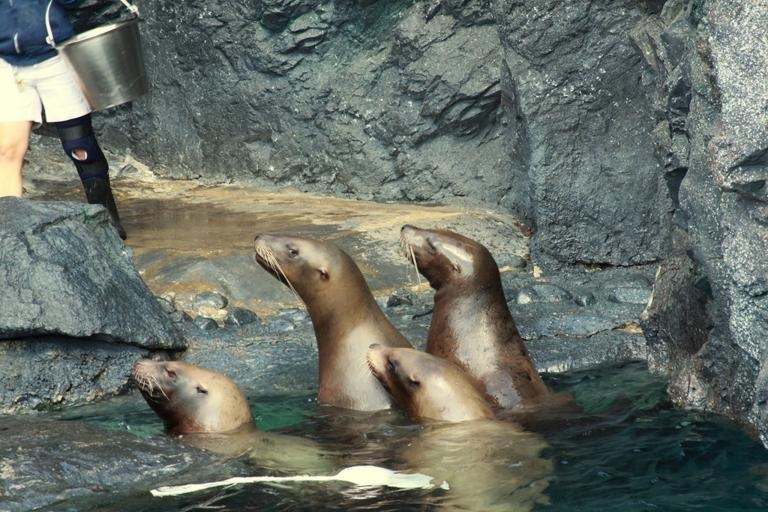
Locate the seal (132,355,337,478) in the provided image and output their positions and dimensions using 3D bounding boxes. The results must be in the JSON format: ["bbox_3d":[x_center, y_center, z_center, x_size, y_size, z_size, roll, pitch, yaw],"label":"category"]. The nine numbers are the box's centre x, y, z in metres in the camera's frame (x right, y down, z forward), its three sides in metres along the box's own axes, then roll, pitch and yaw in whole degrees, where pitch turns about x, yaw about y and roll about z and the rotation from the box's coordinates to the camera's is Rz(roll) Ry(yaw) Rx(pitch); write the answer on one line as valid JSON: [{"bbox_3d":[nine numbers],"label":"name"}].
[{"bbox_3d":[-1.116,1.148,6.663,1.291,0.641,1.470,-1,16,-5],"label":"seal"}]
